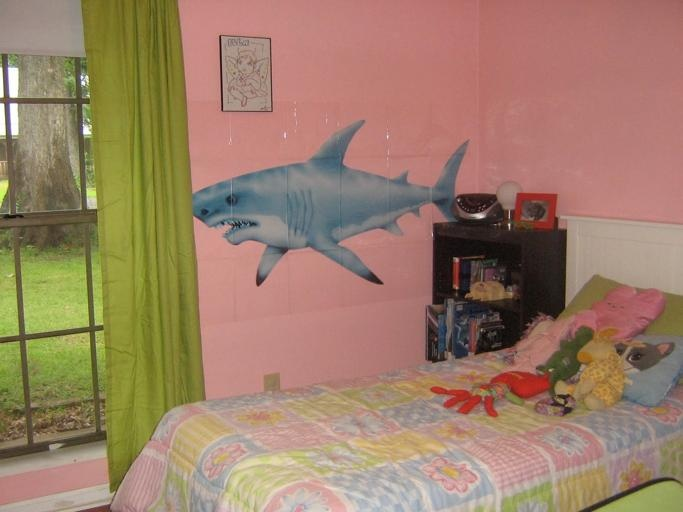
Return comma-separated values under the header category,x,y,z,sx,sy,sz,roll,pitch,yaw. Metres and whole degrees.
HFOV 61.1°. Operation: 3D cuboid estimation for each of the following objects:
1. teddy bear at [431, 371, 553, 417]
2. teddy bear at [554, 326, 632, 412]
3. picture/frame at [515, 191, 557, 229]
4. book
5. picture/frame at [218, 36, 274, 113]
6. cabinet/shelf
category,x,y,z,sx,sy,sz,roll,pitch,yaw
teddy bear,0.693,0.583,2.774,0.452,0.185,0.393,0,9,-29
teddy bear,1.182,0.539,2.701,0.210,0.349,0.233,-3,15,-38
picture/frame,1.236,-0.283,3.652,0.016,0.193,0.222,12,1,-39
book,0.899,0.373,3.884,0.367,0.711,0.562,-5,12,-28
picture/frame,-0.574,-1.072,3.422,0.327,0.437,0.042,-5,13,-26
cabinet/shelf,1.030,0.092,3.701,0.487,1.311,0.832,-3,5,-31
